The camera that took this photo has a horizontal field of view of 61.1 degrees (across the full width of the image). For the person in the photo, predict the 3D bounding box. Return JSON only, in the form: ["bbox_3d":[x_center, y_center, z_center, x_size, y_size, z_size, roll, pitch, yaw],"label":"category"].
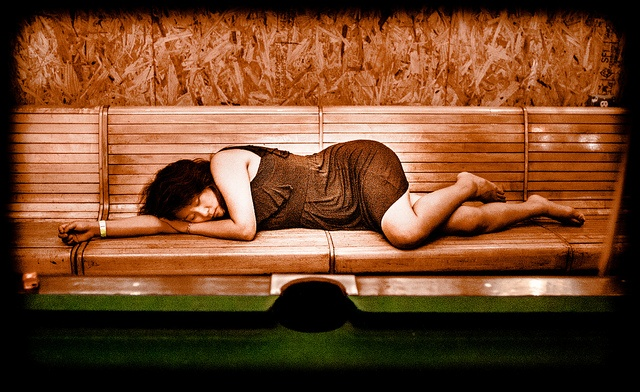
[{"bbox_3d":[-0.045,-0.042,4.003,3.463,0.684,0.686,1,16,1],"label":"person"}]

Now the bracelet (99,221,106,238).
[{"bbox_3d":[-1.563,0.237,3.888,0.045,0.102,0.120,-3,8,-7],"label":"bracelet"}]
